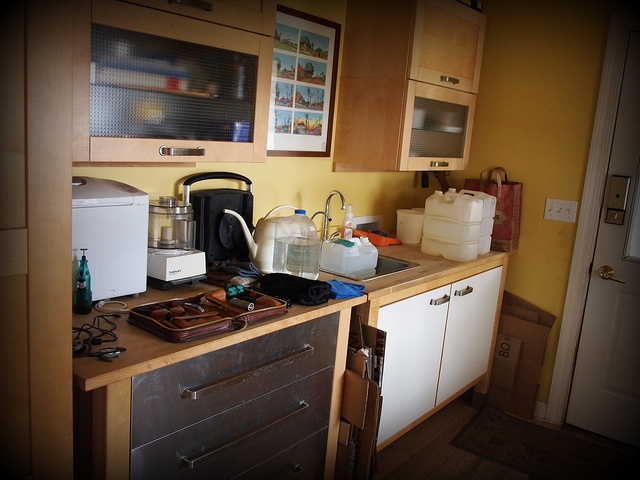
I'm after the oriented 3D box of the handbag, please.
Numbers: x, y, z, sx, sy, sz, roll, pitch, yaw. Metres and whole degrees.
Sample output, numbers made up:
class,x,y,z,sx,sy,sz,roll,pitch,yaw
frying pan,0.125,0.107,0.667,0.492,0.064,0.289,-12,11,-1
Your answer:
class,x,y,z,sx,sy,sz,roll,pitch,yaw
handbag,1.095,-0.166,3.024,0.415,0.597,0.211,16,27,38

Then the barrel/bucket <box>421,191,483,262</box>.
class,x,y,z,sx,sy,sz,roll,pitch,yaw
barrel/bucket,0.766,-0.068,2.797,0.208,0.384,0.314,-15,23,-42

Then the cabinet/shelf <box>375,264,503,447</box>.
class,x,y,z,sx,sy,sz,roll,pitch,yaw
cabinet/shelf,0.654,0.641,2.708,0.357,0.779,0.944,12,17,40

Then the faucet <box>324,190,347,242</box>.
class,x,y,z,sx,sy,sz,roll,pitch,yaw
faucet,0.086,-0.141,2.846,0.136,0.311,0.453,4,14,3

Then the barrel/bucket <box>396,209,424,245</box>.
class,x,y,z,sx,sy,sz,roll,pitch,yaw
barrel/bucket,0.577,-0.079,3.209,0.203,0.222,0.203,6,12,-1

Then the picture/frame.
class,x,y,z,sx,sy,sz,roll,pitch,yaw
picture/frame,-0.099,-0.860,2.587,0.808,0.810,0.033,-9,15,-43
